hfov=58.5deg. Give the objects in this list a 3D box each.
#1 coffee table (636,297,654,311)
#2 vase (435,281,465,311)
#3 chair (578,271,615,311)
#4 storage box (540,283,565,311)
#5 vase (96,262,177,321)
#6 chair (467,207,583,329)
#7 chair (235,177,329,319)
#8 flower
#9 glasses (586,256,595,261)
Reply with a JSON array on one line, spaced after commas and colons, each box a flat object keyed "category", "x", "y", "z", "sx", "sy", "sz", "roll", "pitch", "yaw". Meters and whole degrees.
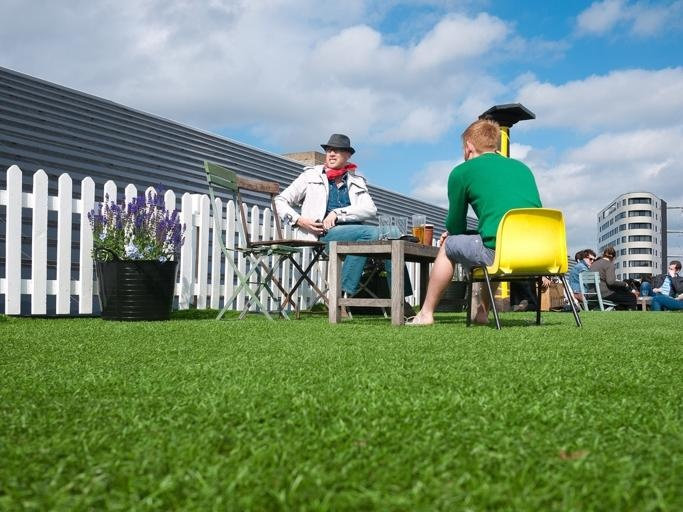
[{"category": "coffee table", "x": 6.020, "y": 0.935, "z": 12.119, "sx": 0.263, "sy": 0.284, "sz": 0.414, "roll": -4, "pitch": -3, "yaw": 27}, {"category": "vase", "x": 1.449, "y": 0.459, "z": 7.510, "sx": 0.520, "sy": 0.403, "sz": 0.537, "roll": 0, "pitch": -6, "yaw": 20}, {"category": "chair", "x": 4.469, "y": 0.642, "z": 10.689, "sx": 0.537, "sy": 0.780, "sz": 1.924, "roll": 1, "pitch": 3, "yaw": 24}, {"category": "storage box", "x": 3.905, "y": 0.787, "z": 11.330, "sx": 0.422, "sy": 0.574, "sz": 0.834, "roll": -2, "pitch": -4, "yaw": 24}, {"category": "vase", "x": -1.508, "y": 0.262, "z": 4.541, "sx": 0.393, "sy": 0.331, "sz": 0.490, "roll": -7, "pitch": -12, "yaw": 35}, {"category": "chair", "x": 1.227, "y": 0.088, "z": 4.013, "sx": 0.506, "sy": 0.746, "sz": 0.478, "roll": 1, "pitch": -11, "yaw": 14}, {"category": "chair", "x": -0.512, "y": -0.094, "z": 5.359, "sx": 0.890, "sy": 1.194, "sz": 0.908, "roll": 2, "pitch": 4, "yaw": -4}, {"category": "flower", "x": -1.593, "y": -0.183, "z": 4.729, "sx": 0.521, "sy": 0.575, "sz": 0.745, "roll": -2, "pitch": -5, "yaw": 29}, {"category": "glasses", "x": 5.138, "y": 0.012, "z": 12.645, "sx": 0.157, "sy": 0.172, "sz": 0.048, "roll": 4, "pitch": 4, "yaw": -27}]
